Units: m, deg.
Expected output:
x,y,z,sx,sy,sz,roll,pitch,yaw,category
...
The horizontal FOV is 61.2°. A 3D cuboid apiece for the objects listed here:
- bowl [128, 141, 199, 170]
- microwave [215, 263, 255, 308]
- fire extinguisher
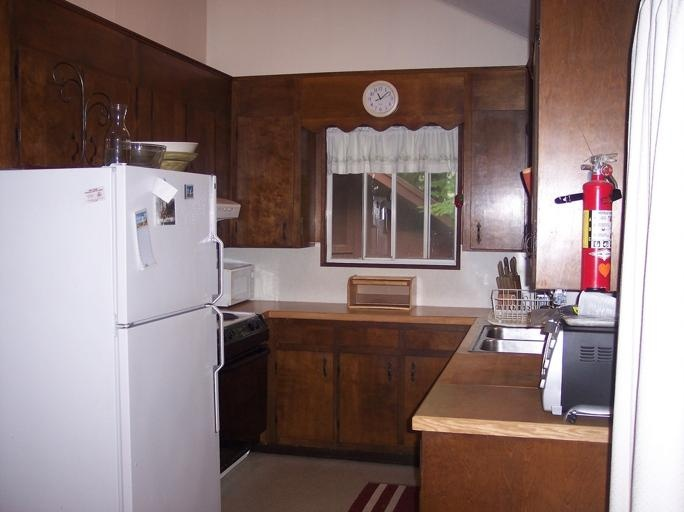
x,y,z,sx,sy,sz,roll,pitch,yaw,category
-0.883,-0.509,2.890,0.211,0.085,0.226,0,1,0,bowl
-0.794,0.224,4.410,0.238,0.305,0.428,2,3,11,microwave
0.926,-0.117,2.092,0.107,0.489,0.079,2,7,24,fire extinguisher
